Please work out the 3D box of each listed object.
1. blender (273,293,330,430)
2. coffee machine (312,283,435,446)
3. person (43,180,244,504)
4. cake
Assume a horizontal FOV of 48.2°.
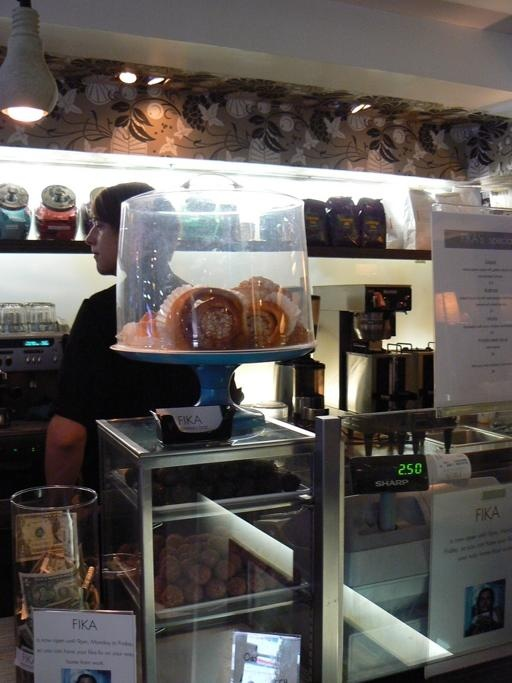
[{"bbox_3d":[0.228,0.061,2.963,0.274,0.653,0.266,-6,11,6],"label":"blender"},{"bbox_3d":[0.370,0.037,3.231,0.528,0.915,0.898,0,0,-24],"label":"coffee machine"},{"bbox_3d":[-0.311,-0.025,1.550,0.440,0.778,0.411,1,10,-32],"label":"person"},{"bbox_3d":[-0.042,-0.055,0.780,0.200,0.094,0.141,-4,10,-20],"label":"cake"}]
